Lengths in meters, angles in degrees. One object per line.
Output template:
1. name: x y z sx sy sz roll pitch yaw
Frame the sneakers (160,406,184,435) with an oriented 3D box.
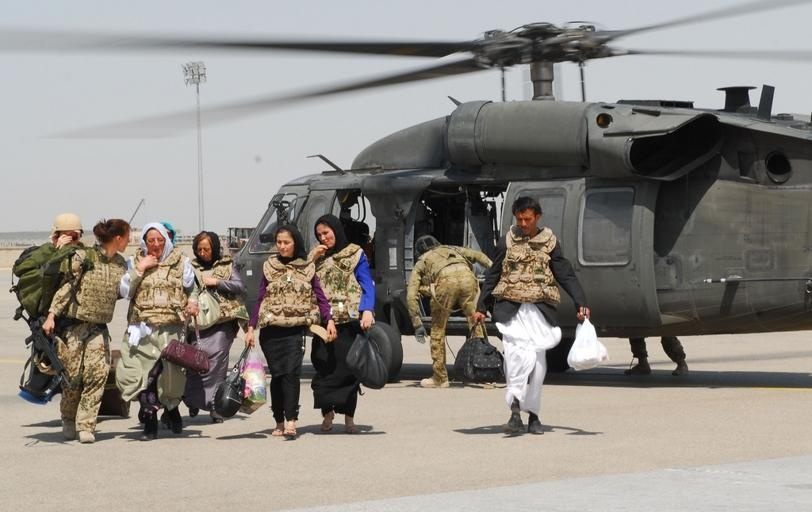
1. sneakers: -2.784 1.957 12.511 0.163 0.202 0.494 0 -6 -20

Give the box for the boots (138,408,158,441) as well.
1. boots: -2.942 1.917 12.043 0.186 0.339 0.238 0 -2 -20

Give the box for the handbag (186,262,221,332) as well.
1. handbag: -2.393 0.519 12.453 0.481 0.892 0.768 -4 7 -6

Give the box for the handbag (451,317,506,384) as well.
1. handbag: 0.775 1.142 12.173 0.509 0.738 0.822 8 -10 -20

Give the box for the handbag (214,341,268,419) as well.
1. handbag: -1.940 1.482 12.359 0.461 0.811 0.857 26 -16 0

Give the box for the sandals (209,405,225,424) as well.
1. sandals: -2.273 1.930 12.768 0.190 0.238 0.586 0 -16 -11

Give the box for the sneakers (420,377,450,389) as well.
1. sneakers: 0.427 1.825 15.182 0.413 0.184 0.146 5 -5 6

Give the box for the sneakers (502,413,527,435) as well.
1. sneakers: 1.237 1.916 11.986 0.153 0.168 0.387 1 1 0

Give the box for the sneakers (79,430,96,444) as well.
1. sneakers: -3.571 2.022 11.835 0.180 0.142 0.251 0 -2 -17

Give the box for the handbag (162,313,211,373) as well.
1. handbag: -2.524 0.993 12.023 0.564 0.650 0.237 24 -31 -27
